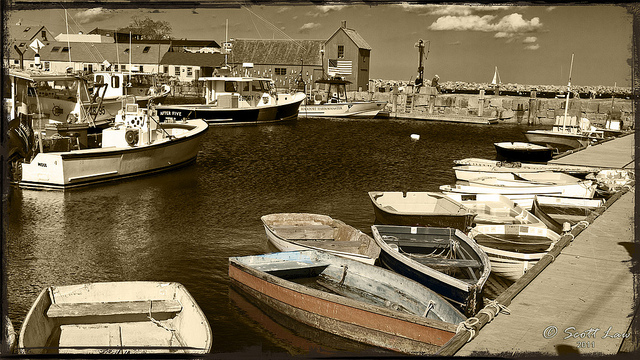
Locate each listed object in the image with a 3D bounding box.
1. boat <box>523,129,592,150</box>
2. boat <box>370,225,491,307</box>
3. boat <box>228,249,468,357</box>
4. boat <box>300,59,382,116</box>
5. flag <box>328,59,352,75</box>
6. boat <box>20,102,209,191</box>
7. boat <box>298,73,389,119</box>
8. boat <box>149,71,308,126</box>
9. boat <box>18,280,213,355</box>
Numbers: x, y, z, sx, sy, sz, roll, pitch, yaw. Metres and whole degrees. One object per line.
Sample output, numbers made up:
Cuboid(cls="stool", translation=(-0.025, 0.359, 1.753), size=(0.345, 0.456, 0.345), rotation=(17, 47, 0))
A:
Cuboid(cls="boat", translation=(13.498, -2.308, 37.638), size=(3.358, 0.806, 1.517), rotation=(8, 17, 37))
Cuboid(cls="boat", translation=(3.411, 2.496, 19.375), size=(3.186, 1.107, 4.975), rotation=(1, 16, -13))
Cuboid(cls="boat", translation=(0.811, 3.626, 18.724), size=(7.030, 1.074, 2.593), rotation=(11, 15, 41))
Cuboid(cls="boat", translation=(1.702, -7.391, 57.516), size=(3.299, 4.906, 11.824), rotation=(-6, 8, -37))
Cuboid(cls="flag", translation=(1.966, -11.021, 64.968), size=(2.353, 1.374, 2.392), rotation=(2, 9, 0))
Cuboid(cls="boat", translation=(-8.697, -1.551, 29.150), size=(3.449, 2.125, 6.683), rotation=(11, 16, 36))
Cuboid(cls="boat", translation=(1.452, -6.881, 55.485), size=(8.310, 3.213, 2.895), rotation=(7, 16, 33))
Cuboid(cls="boat", translation=(-6.369, -5.697, 46.859), size=(11.485, 3.509, 5.333), rotation=(-8, 13, -26))
Cuboid(cls="boat", translation=(-5.229, 3.585, 17.363), size=(4.350, 1.483, 1.707), rotation=(1, 9, -1))
